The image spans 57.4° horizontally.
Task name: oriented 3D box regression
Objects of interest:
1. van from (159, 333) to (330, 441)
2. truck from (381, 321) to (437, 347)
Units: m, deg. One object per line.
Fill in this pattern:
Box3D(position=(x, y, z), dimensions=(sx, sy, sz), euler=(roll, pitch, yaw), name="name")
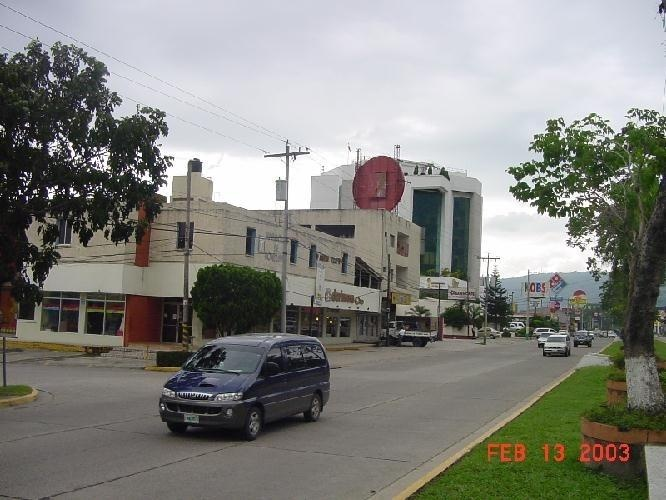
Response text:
Box3D(position=(-1.966, 3.180, 14.707), dimensions=(2.034, 1.814, 3.879), euler=(-5, -12, 21), name="van")
Box3D(position=(7.391, 8.840, 63.650), dimensions=(5.325, 2.500, 4.903), euler=(1, -7, -7), name="truck")
